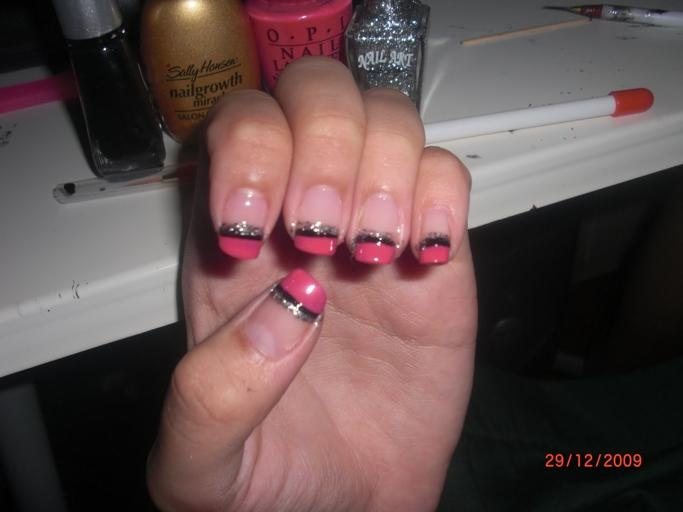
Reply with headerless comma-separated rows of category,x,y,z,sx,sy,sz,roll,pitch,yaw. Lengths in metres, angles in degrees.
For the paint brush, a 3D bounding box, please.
paint brush,0.006,-0.119,0.643,0.625,0.073,0.042,-11,11,-8
